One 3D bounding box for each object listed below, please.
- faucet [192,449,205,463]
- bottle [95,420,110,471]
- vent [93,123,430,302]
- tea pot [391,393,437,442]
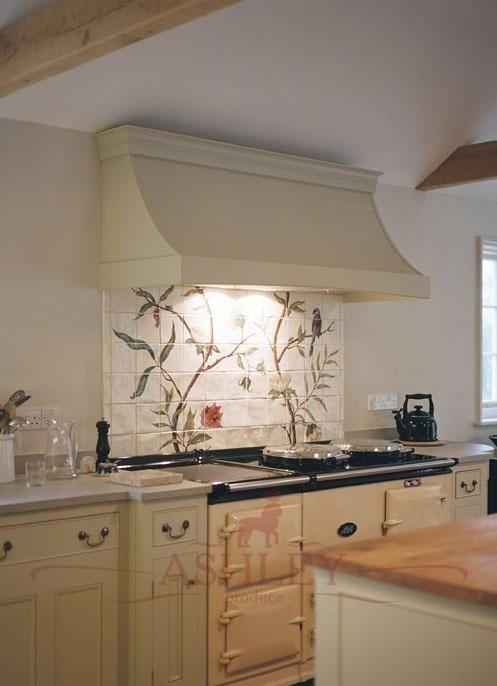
[{"bbox_3d":[-0.224,0.529,2.859,0.052,0.088,0.052,-6,-8,36],"label":"faucet"},{"bbox_3d":[-0.581,0.407,2.466,0.047,0.197,0.129,0,-3,-15],"label":"bottle"},{"bbox_3d":[0.060,-0.551,2.796,1.364,0.726,0.546,2,-4,-36],"label":"vent"},{"bbox_3d":[0.944,0.424,3.494,0.225,0.259,0.212,-1,-3,0],"label":"tea pot"}]
